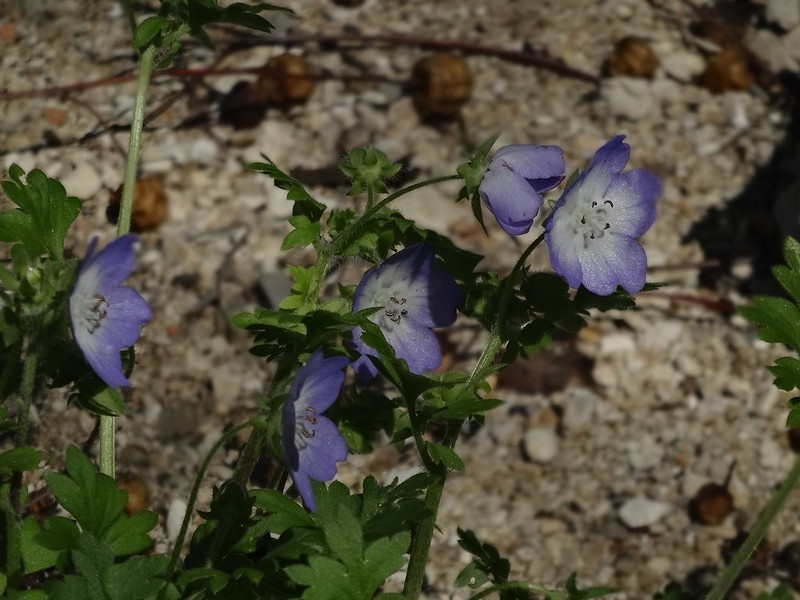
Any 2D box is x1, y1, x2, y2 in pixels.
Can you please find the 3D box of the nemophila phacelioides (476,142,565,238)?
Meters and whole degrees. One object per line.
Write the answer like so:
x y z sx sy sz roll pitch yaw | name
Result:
0.303 -0.310 2.209 0.170 0.055 0.242 33 77 7 | nemophila phacelioides
